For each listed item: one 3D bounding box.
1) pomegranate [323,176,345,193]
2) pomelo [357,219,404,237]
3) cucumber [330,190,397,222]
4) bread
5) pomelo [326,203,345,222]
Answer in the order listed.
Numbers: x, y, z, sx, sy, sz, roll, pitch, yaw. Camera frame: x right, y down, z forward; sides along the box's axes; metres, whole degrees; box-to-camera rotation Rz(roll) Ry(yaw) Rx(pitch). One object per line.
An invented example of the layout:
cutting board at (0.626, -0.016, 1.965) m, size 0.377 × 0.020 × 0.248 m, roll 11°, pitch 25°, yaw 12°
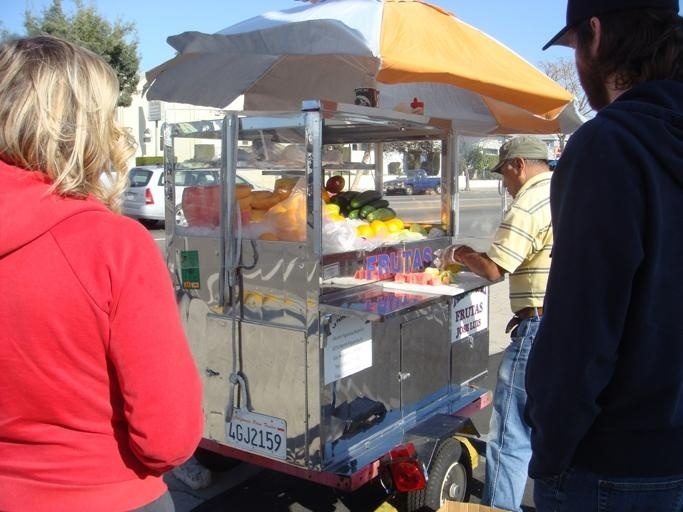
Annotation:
pomegranate at (-0.047, -0.551, 4.968) m, size 0.102 × 0.120 × 0.142 m, roll 11°, pitch 40°, yaw 42°
pomelo at (0.248, -0.231, 4.410) m, size 0.128 × 0.117 × 0.288 m, roll 9°, pitch 15°, yaw 34°
cucumber at (0.172, -0.415, 4.696) m, size 0.249 × 0.263 × 0.389 m, roll -8°, pitch 15°, yaw -39°
bread at (-0.418, -0.285, 3.824) m, size 0.383 × 0.342 × 0.753 m, roll -1°, pitch 8°, yaw -9°
pomelo at (-0.055, -0.290, 4.181) m, size 0.041 × 0.133 × 0.126 m, roll -27°, pitch -4°, yaw 8°
